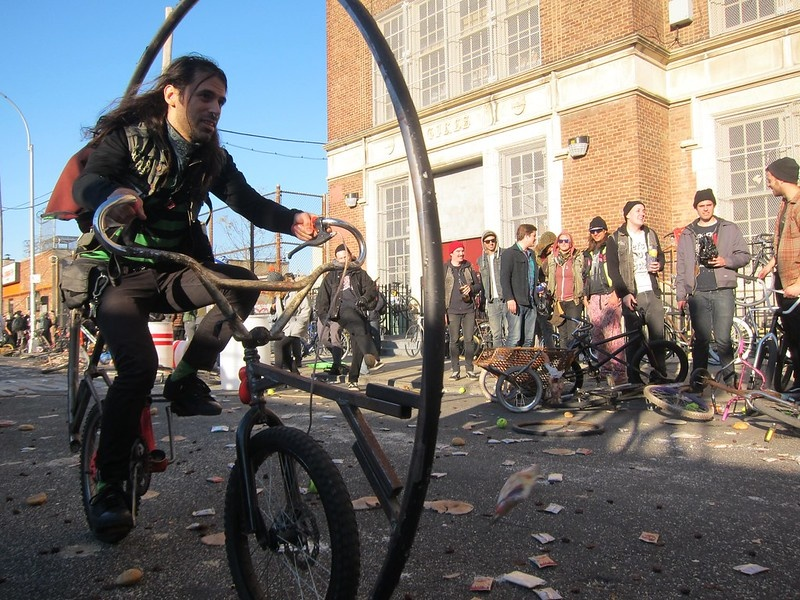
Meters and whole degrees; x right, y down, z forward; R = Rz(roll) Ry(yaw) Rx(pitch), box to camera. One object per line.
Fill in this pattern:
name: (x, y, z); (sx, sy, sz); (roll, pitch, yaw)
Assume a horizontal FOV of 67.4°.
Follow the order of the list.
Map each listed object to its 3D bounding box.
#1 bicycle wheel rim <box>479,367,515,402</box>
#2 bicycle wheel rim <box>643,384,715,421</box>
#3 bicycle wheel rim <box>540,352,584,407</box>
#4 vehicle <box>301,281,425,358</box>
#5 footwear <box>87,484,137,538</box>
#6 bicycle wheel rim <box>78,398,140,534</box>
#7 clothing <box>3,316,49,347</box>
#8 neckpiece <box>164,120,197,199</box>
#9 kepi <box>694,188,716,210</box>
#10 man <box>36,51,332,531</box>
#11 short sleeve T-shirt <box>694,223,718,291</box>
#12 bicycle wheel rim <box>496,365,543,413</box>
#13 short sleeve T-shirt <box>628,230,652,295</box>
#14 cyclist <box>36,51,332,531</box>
bicycle wheel rim: (1.288, 1.118, 7.865); (0.509, 0.515, 0.131); (4, 4, -18)
bicycle wheel rim: (3.141, 1.132, 6.708); (0.692, 0.330, 0.638); (-1, 0, 28)
bicycle wheel rim: (2.061, 0.968, 7.540); (0.498, 0.716, 0.301); (1, -8, -8)
vehicle: (-0.704, 0.550, 16.602); (3.324, 2.015, 1.641); (2, -6, -35)
footwear: (-1.580, 1.168, 3.278); (0.155, 0.170, 0.405); (-6, 15, -33)
bicycle wheel rim: (-1.617, 0.932, 3.495); (0.496, 0.785, 0.292); (-6, -12, 36)
clothing: (-18.035, 1.561, 28.847); (2.532, 1.598, 1.618); (0, 0, 25)
neckpiece: (-1.261, -0.823, 3.444); (0.226, 0.321, 0.231); (-6, -3, -4)
kepi: (3.989, -1.356, 7.825); (0.276, 0.271, 0.289); (-4, -13, 14)
man: (-1.287, -0.094, 3.430); (1.567, 2.549, 1.422); (-5, -10, -2)
short sleeve T-shirt: (3.900, -0.522, 7.519); (0.191, 0.765, 0.436); (-14, 14, -43)
bicycle wheel rim: (1.518, 1.100, 7.467); (0.415, 0.417, 0.095); (40, 0, 26)
short sleeve T-shirt: (3.385, -0.552, 8.479); (0.403, 0.707, 0.196); (5, -12, -19)
cyclist: (-1.389, -0.034, 3.381); (1.607, 2.509, 1.533); (-4, -4, 20)
